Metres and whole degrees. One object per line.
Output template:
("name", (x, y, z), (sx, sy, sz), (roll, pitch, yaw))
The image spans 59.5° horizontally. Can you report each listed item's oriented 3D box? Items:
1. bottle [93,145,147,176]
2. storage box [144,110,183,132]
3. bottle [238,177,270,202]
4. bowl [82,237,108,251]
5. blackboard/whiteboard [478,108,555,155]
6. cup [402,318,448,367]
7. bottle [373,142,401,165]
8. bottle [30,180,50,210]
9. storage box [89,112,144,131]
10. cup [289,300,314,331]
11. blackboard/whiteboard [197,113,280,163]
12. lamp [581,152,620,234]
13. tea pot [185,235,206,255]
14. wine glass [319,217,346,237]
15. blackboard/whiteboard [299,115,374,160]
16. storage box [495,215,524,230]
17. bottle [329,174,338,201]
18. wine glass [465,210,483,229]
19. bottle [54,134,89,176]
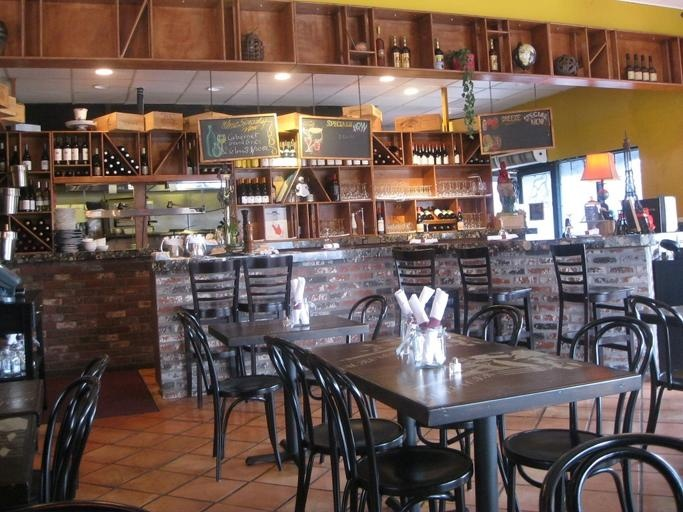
("bottle", (-3.103, -1.316, 8.171), (0.503, 0.433, 0.204), (-7, 10, -16))
("storage box", (-2.420, -1.723, 8.009), (0.458, 0.196, 0.301), (-1, 3, -24))
("bottle", (-1.253, -0.882, 8.360), (0.420, 0.349, 0.373), (0, -1, -20))
("bowl", (-3.152, -0.133, 7.608), (0.267, 0.118, 0.279), (1, -2, 0))
("blackboard/whiteboard", (2.243, -1.592, 7.653), (1.319, 0.723, 0.044), (-2, -3, 12))
("cup", (0.400, 0.423, 2.941), (0.219, 0.187, 0.311), (-5, 6, -8))
("bottle", (0.647, -1.487, 8.747), (0.466, 0.377, 0.104), (1, 3, 6))
("bottle", (-3.993, -0.801, 7.869), (0.217, 0.418, 0.347), (-7, 6, -25))
("storage box", (-2.991, -1.763, 7.945), (0.681, 0.232, 0.343), (-4, 5, -7))
("cup", (-0.277, 0.394, 3.935), (0.123, 0.163, 0.182), (1, -3, -4))
("blackboard/whiteboard", (-1.267, -1.431, 7.222), (0.892, 0.464, 0.059), (-2, -3, -10))
("lamp", (2.714, -0.682, 6.269), (0.360, 0.831, 1.124), (-2, 6, 24))
("tea pot", (-1.428, -0.101, 5.748), (0.233, 0.216, 0.156), (-1, 5, -14))
("wine glass", (-0.139, -0.404, 8.529), (0.301, 0.202, 0.303), (1, 1, 37))
("blackboard/whiteboard", (-0.082, -1.545, 7.834), (1.063, 0.517, 0.040), (8, 14, 26))
("storage box", (2.182, -0.449, 7.685), (0.331, 0.205, 0.274), (-2, 6, 12))
("bottle", (-0.106, -0.978, 8.512), (0.105, 0.370, 0.187), (-7, 6, -24))
("wine glass", (2.062, -0.559, 9.304), (0.290, 0.242, 0.271), (0, -2, -19))
("bottle", (-3.610, -1.339, 7.908), (0.452, 0.541, 0.325), (-6, 6, -23))
